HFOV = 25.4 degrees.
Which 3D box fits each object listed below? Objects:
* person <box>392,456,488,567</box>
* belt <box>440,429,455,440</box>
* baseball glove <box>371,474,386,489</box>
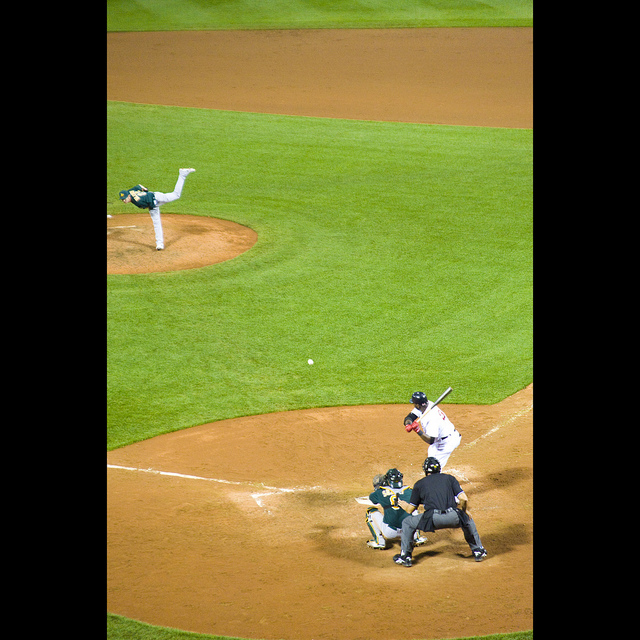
[{"bbox_3d":[0.866,1.403,10.187,0.659,0.679,0.447,-5,15,-9],"label":"person"},{"bbox_3d":[0.991,0.891,11.022,0.082,0.019,0.076,-29,-5,-16],"label":"belt"},{"bbox_3d":[0.431,1.159,10.214,0.110,0.093,0.105,-1,-7,8],"label":"baseball glove"}]
